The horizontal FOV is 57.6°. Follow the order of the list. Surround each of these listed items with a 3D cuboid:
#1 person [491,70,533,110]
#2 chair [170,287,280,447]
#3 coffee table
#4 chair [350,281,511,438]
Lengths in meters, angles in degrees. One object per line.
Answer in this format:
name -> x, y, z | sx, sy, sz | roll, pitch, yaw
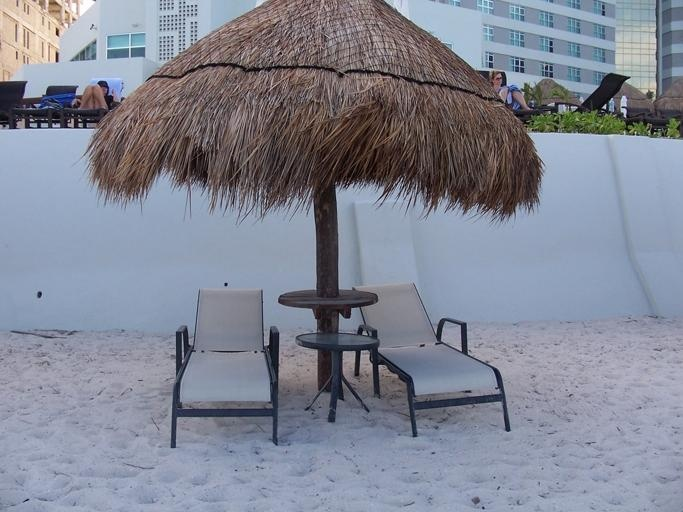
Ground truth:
person -> 3.213, -3.087, 11.680 | 0.714, 0.724, 0.737 | 4, 13, 16
chair -> -1.199, 1.152, 6.605 | 1.067, 1.225, 1.566 | -1, 13, -7
coffee table -> -0.026, 1.259, 6.629 | 0.873, 0.823, 0.851 | 0, 4, -15
chair -> 0.867, 1.051, 6.924 | 1.118, 1.035, 2.212 | -2, 4, -14
